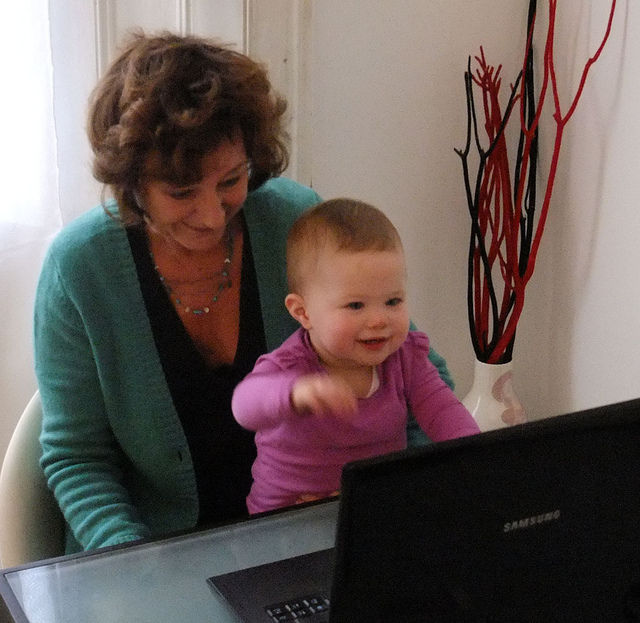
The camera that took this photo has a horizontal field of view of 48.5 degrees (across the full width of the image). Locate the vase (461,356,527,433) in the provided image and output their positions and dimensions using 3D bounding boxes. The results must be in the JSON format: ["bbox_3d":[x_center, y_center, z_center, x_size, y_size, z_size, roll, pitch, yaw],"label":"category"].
[{"bbox_3d":[0.444,0.205,1.771,0.128,0.226,0.144,-1,9,-2],"label":"vase"}]

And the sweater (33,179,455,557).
[{"bbox_3d":[-0.215,0.059,1.419,0.707,0.813,0.430,-14,50,-19],"label":"sweater"}]
